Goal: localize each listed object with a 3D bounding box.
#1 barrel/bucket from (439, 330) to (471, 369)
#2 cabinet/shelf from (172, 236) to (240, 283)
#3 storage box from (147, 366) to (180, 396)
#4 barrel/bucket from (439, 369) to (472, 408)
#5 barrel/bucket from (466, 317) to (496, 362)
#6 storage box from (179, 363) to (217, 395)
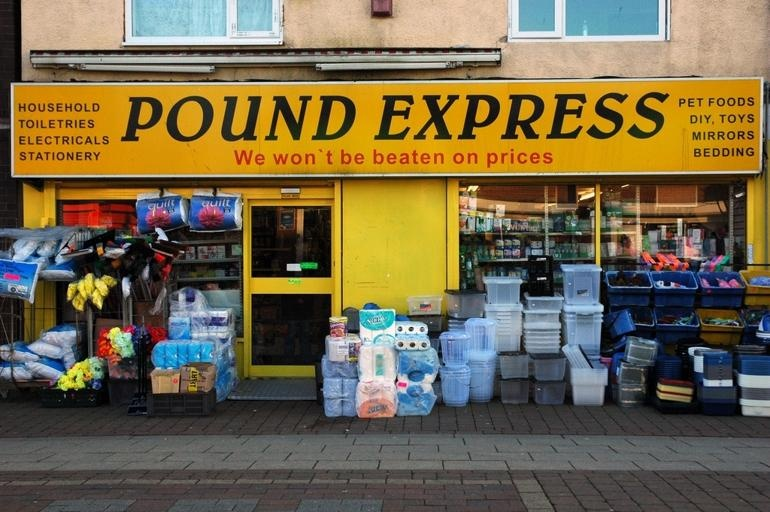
[{"bbox_3d":[1.108,1.452,12.802,0.534,0.462,0.496,-1,0,0],"label":"barrel/bucket"},{"bbox_3d":[-3.033,0.051,14.364,1.219,0.915,0.392,-1,2,12],"label":"cabinet/shelf"},{"bbox_3d":[-3.362,1.919,12.612,0.425,0.236,0.389,0,4,1],"label":"storage box"},{"bbox_3d":[1.108,2.021,12.728,0.607,0.618,0.565,-2,-2,0],"label":"barrel/bucket"},{"bbox_3d":[1.541,1.292,13.081,0.601,0.565,0.559,-1,-2,0],"label":"barrel/bucket"},{"bbox_3d":[-2.907,1.863,12.603,0.459,0.418,0.408,0,15,3],"label":"storage box"}]
